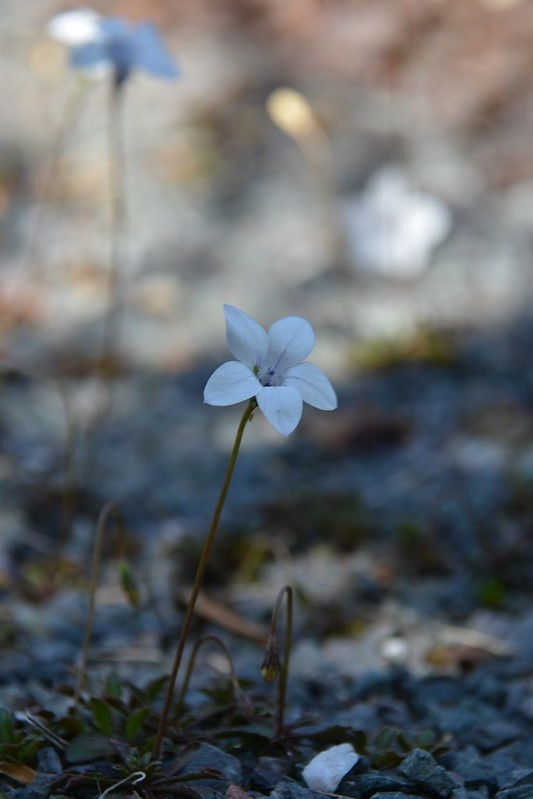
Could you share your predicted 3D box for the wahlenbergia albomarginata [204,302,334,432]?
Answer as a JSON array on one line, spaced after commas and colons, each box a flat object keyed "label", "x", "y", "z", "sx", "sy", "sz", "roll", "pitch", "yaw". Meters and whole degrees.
[{"label": "wahlenbergia albomarginata", "x": 0.000, "y": -0.034, "z": 1.048, "sx": 0.138, "sy": 0.172, "sz": 0.073, "roll": 17, "pitch": -30, "yaw": -37}]
